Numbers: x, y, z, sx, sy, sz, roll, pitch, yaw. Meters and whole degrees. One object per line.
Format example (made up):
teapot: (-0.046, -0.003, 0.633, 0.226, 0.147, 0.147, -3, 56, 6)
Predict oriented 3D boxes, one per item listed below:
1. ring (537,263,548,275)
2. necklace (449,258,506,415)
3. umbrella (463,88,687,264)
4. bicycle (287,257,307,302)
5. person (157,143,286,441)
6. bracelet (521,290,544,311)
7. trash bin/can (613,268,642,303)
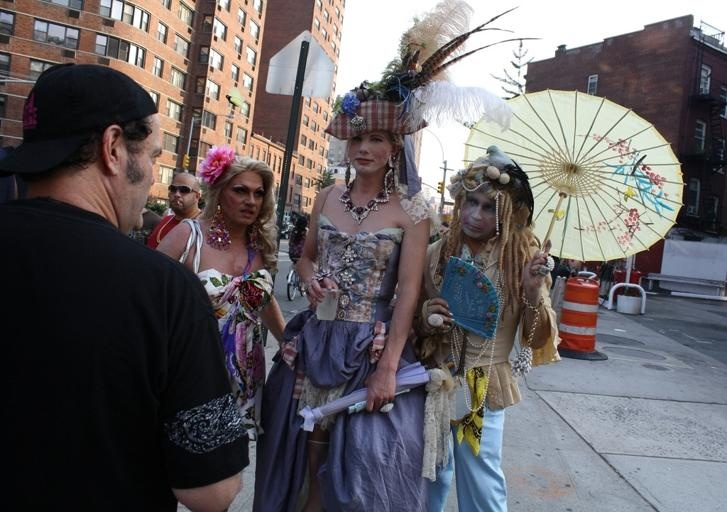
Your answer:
ring: (0.956, 0.073, 2.523, 0.034, 0.053, 0.013, 5, 6, 19)
necklace: (0.656, 0.397, 2.610, 0.239, 0.920, 0.050, 5, 15, 21)
umbrella: (1.645, -0.415, 3.857, 1.413, 1.547, 1.290, 6, 12, 11)
bicycle: (-1.593, 0.371, 11.075, 0.407, 0.594, 0.948, -2, -3, -8)
person: (-0.877, 0.416, 3.143, 0.912, 2.112, 0.660, -1, 20, -25)
bracelet: (0.932, 0.250, 2.631, 0.121, 0.077, 0.110, 5, 3, 29)
trash bin/can: (8.795, 1.164, 15.663, 0.812, 1.448, 1.345, 6, -7, 22)
